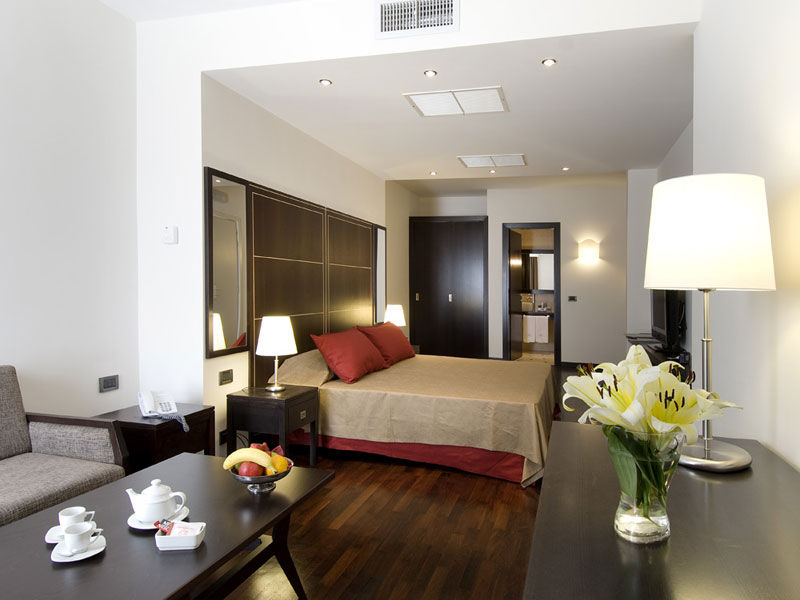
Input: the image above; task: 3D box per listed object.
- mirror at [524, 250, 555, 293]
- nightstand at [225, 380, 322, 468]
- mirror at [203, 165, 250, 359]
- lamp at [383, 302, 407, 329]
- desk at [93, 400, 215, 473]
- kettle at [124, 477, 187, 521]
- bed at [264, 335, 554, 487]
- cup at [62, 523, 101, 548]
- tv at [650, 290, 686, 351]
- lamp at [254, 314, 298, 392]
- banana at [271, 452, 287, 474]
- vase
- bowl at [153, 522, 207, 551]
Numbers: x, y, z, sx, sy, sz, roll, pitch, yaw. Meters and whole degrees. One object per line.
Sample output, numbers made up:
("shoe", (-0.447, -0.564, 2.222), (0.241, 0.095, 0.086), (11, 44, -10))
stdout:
("mirror", (2.495, -0.511, 10.155), (0.498, 0.650, 0.197), (2, 5, 9))
("nightstand", (-0.905, 0.751, 3.995), (0.497, 0.669, 0.600), (-1, -2, 22))
("mirror", (-1.231, -0.267, 4.032), (0.112, 1.282, 0.486), (3, 5, 16))
("lamp", (-0.064, 0.167, 6.296), (0.232, 0.256, 0.249), (-1, 4, 16))
("desk", (-1.504, 0.642, 3.451), (0.383, 0.578, 0.561), (1, 3, 16))
("kettle", (-1.025, 0.814, 2.363), (0.220, 0.171, 0.157), (-2, -1, 10))
("bed", (0.313, 0.824, 4.256), (1.271, 0.537, 1.170), (1, 5, 20))
("cup", (-1.194, 0.879, 2.126), (0.065, 0.079, 0.111), (-5, -11, 8))
("tv", (2.431, 0.175, 5.098), (0.163, 0.559, 0.528), (0, -1, 7))
("lamp", (-0.920, 0.375, 4.190), (0.259, 0.565, 0.555), (0, 6, -15))
("banana", (-0.550, 0.739, 2.585), (0.055, 0.046, 0.077), (5, 3, 1))
("vase", (0.725, 0.533, 1.678), (0.217, 0.347, 0.267), (4, -10, 3))
("bowl", (-0.842, 0.897, 2.175), (0.174, 0.074, 0.131), (0, 6, -15))
